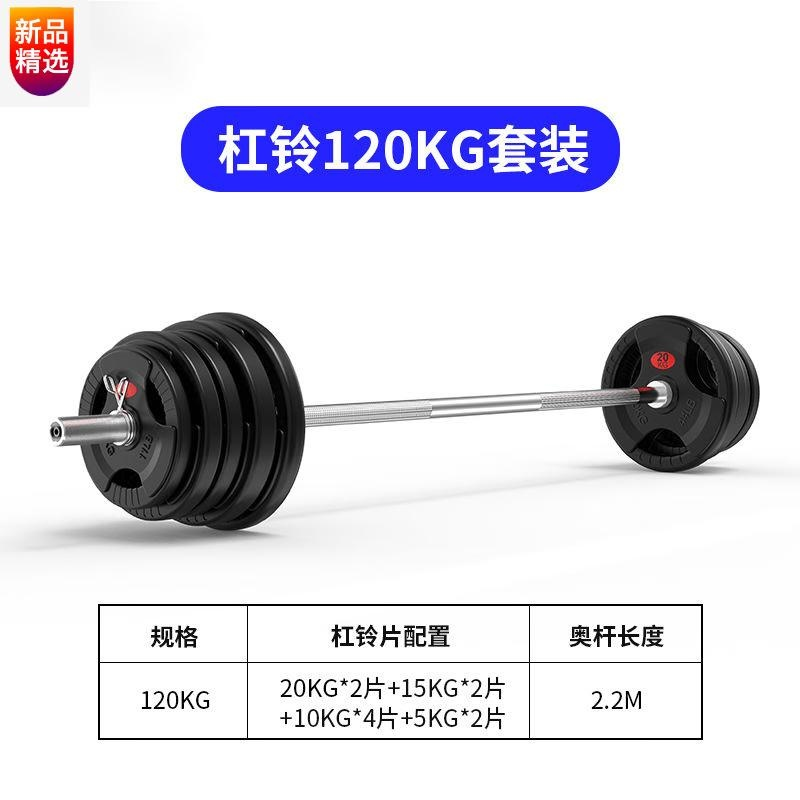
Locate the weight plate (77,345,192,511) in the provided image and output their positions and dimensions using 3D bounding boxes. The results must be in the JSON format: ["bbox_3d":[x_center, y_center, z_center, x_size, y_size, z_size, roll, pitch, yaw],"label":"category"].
[{"bbox_3d":[-0.688,0.072,2.513,0.463,0.456,0.182,0,3,22],"label":"weight plate"}]
